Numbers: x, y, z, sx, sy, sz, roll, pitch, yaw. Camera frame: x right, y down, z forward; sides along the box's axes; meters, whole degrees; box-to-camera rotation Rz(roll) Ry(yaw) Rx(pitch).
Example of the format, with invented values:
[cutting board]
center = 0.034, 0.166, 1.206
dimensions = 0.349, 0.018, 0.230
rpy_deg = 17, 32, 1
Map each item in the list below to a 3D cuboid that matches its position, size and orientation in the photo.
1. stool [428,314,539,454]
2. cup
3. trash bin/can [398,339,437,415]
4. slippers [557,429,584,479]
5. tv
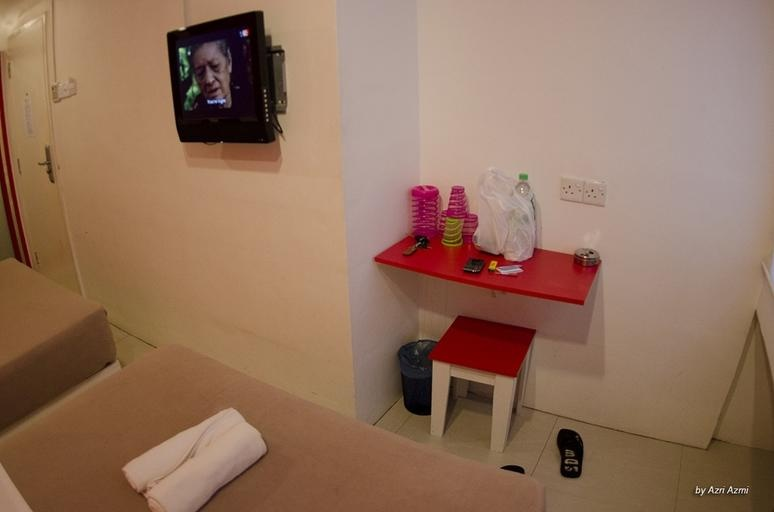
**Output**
[stool]
center = 0.533, 0.744, 3.416
dimensions = 0.607, 0.663, 0.667
rpy_deg = 12, 31, 21
[cup]
center = 0.338, -0.241, 3.265
dimensions = 0.317, 0.294, 0.132
rpy_deg = 4, 16, 17
[trash bin/can]
center = 0.208, 0.706, 3.497
dimensions = 0.336, 0.388, 0.355
rpy_deg = 3, 18, 14
[slippers]
center = 1.025, 1.091, 3.104
dimensions = 0.139, 0.032, 0.315
rpy_deg = -2, 35, 14
[tv]
center = -0.904, -0.930, 2.998
dimensions = 0.755, 0.634, 0.091
rpy_deg = 7, 15, 34
